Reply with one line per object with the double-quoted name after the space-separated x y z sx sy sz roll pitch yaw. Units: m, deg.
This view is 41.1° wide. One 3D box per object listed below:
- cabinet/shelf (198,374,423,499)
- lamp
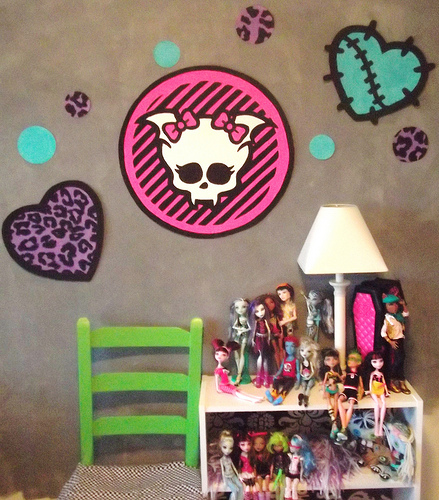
0.339 0.726 2.234 0.820 0.410 0.304 -4 1 -2 "cabinet/shelf"
0.470 0.165 2.255 0.306 0.726 0.312 0 17 13 "lamp"
